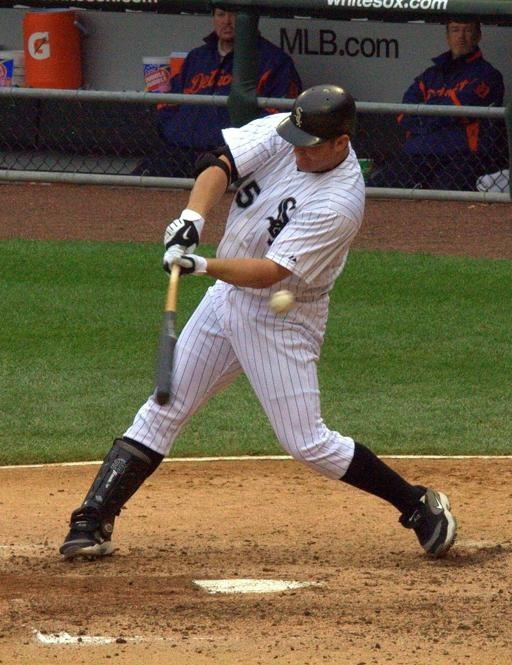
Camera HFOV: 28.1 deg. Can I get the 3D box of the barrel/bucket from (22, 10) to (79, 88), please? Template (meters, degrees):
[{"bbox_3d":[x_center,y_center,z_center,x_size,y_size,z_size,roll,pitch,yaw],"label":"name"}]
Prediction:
[{"bbox_3d":[-1.402,-1.927,7.003,0.399,0.532,0.348,2,5,-6],"label":"barrel/bucket"}]

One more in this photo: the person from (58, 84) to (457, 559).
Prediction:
[{"bbox_3d":[0.046,-0.007,3.006,1.106,1.403,0.442,1,6,-22],"label":"person"}]

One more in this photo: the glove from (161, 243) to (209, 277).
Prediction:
[{"bbox_3d":[-0.193,-0.200,2.799,0.134,0.066,0.049,23,-5,12],"label":"glove"}]

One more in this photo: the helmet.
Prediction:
[{"bbox_3d":[0.169,-0.590,2.799,0.249,0.110,0.163,-17,55,-24],"label":"helmet"}]

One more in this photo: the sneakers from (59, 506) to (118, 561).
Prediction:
[{"bbox_3d":[-0.488,0.592,3.007,0.107,0.107,0.239,0,-4,12],"label":"sneakers"}]

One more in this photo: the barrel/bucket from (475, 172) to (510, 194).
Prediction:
[{"bbox_3d":[1.138,-0.726,4.915,0.147,0.120,0.165,3,5,8],"label":"barrel/bucket"}]

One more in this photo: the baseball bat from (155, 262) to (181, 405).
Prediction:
[{"bbox_3d":[-0.225,0.003,2.823,0.076,0.390,0.067,7,-16,2],"label":"baseball bat"}]
